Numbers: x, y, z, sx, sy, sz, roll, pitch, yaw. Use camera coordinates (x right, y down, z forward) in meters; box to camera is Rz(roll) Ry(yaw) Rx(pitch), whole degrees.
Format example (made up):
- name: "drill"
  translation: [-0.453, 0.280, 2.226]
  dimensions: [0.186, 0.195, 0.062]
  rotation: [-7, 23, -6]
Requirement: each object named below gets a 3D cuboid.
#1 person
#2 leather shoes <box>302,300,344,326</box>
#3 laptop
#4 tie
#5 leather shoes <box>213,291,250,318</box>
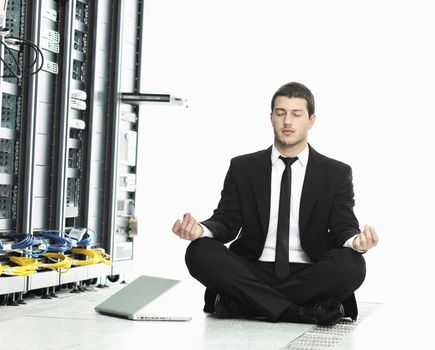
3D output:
- name: "person"
  translation: [0.354, 0.130, 2.086]
  dimensions: [0.880, 1.001, 0.774]
  rotation: [2, 10, 25]
- name: "leather shoes"
  translation: [0.482, 0.621, 2.020]
  dimensions: [0.176, 0.098, 0.071]
  rotation: [-4, -26, 21]
- name: "laptop"
  translation: [-0.280, 0.544, 2.074]
  dimensions: [0.262, 0.134, 0.317]
  rotation: [3, 5, -13]
- name: "tie"
  translation: [0.326, 0.206, 2.126]
  dimensions: [0.089, 0.590, 0.073]
  rotation: [2, -3, 7]
- name: "leather shoes"
  translation: [0.076, 0.635, 2.162]
  dimensions: [0.219, 0.136, 0.071]
  rotation: [15, -31, -31]
